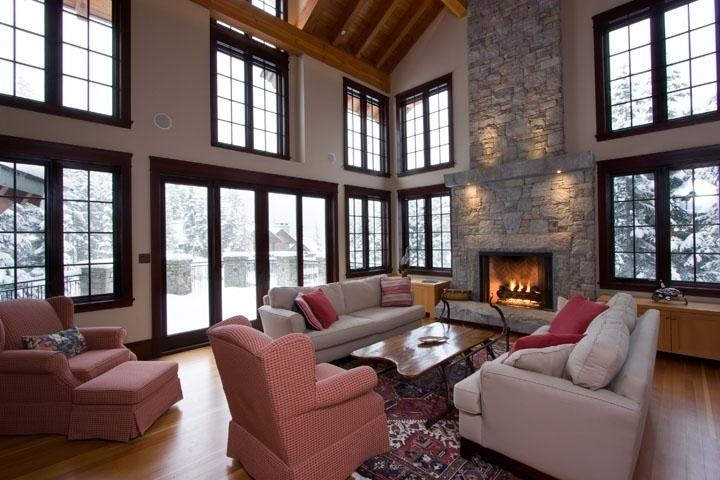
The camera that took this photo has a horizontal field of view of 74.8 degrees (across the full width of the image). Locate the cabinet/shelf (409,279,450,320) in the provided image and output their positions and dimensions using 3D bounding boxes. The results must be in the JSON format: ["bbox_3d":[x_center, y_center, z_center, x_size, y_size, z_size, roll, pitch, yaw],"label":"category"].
[{"bbox_3d":[1.280,1.060,9.530,1.046,0.875,0.644,-2,-3,45],"label":"cabinet/shelf"}]

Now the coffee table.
[{"bbox_3d":[0.756,1.413,6.105,0.976,0.552,1.851,-1,4,43],"label":"coffee table"}]

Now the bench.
[{"bbox_3d":[-2.833,1.889,5.707,0.800,0.533,1.021,0,1,8],"label":"bench"}]
